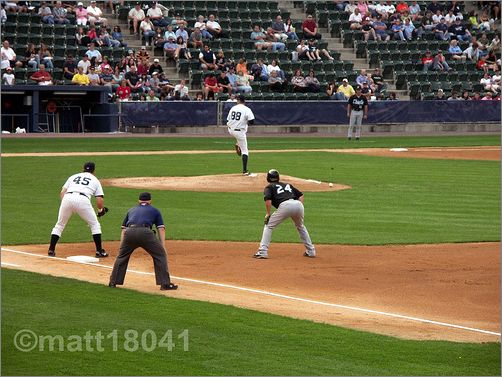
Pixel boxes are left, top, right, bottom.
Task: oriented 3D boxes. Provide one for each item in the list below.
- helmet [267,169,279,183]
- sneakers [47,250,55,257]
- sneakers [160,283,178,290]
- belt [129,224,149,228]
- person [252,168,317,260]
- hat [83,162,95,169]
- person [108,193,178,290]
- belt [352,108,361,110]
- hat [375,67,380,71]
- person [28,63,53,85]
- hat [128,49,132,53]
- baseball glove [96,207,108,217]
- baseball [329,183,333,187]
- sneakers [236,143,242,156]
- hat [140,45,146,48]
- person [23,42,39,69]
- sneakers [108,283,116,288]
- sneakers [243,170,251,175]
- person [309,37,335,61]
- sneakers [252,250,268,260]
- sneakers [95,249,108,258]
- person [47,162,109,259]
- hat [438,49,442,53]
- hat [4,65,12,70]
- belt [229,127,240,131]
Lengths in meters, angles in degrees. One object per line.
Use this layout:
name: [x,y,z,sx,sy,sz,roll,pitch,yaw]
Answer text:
helmet: [0.513,-0.283,22.341,0.219,0.259,0.284,0,14,-3]
sneakers: [-4.381,1.434,21.731,0.104,0.131,0.141,1,4,-18]
sneakers: [-1.632,1.944,19.756,0.334,0.132,0.129,-2,3,-11]
belt: [-2.198,0.740,19.538,0.405,0.069,0.060,0,12,-6]
person: [0.756,0.595,22.165,1.325,1.900,0.718,2,12,-1]
hat: [-3.519,-0.478,21.540,0.218,0.149,0.342,7,-7,-5]
person: [-2.148,1.075,19.673,1.271,1.839,0.453,1,12,-3]
belt: [4.604,-3.378,42.804,0.326,0.110,0.091,1,12,-3]
hat: [6.404,-5.925,49.783,0.205,0.129,0.254,3,19,-21]
person: [-8.783,-4.756,41.575,0.758,0.970,1.003,-11,21,-33]
hat: [-5.408,-6.061,44.345,0.192,0.177,0.193,19,28,35]
baseball glove: [-3.248,0.480,21.640,0.128,0.152,0.364,15,23,0]
baseball: [2.494,-0.099,30.560,0.087,0.107,0.108,5,9,5]
sneakers: [-0.386,-1.231,31.349,0.190,0.396,0.136,-7,-24,-6]
hat: [-4.919,-6.446,45.408,0.316,0.156,0.491,0,5,-7]
person: [-9.339,-5.625,42.378,0.587,1.038,0.829,-5,14,-29]
sneakers: [-2.741,1.918,19.644,0.065,0.065,0.153,-2,3,-41]
sneakers: [-0.112,-0.467,31.106,0.257,0.151,0.186,-4,13,-24]
person: [3.523,-7.101,51.079,0.814,1.030,1.639,-15,28,-39]
sneakers: [0.229,1.473,22.097,0.320,0.177,0.213,2,12,0]
sneakers: [-3.284,1.439,21.815,0.121,0.150,0.334,7,6,38]
person: [-3.750,0.499,21.573,1.238,2.108,0.565,0,12,-7]
hat: [10.263,-7.329,53.396,0.265,0.125,0.346,3,14,-1]
hat: [-10.078,-4.960,41.054,0.241,0.107,0.363,-2,10,-18]
belt: [-0.515,-1.888,31.769,0.432,0.113,0.102,8,13,28]
